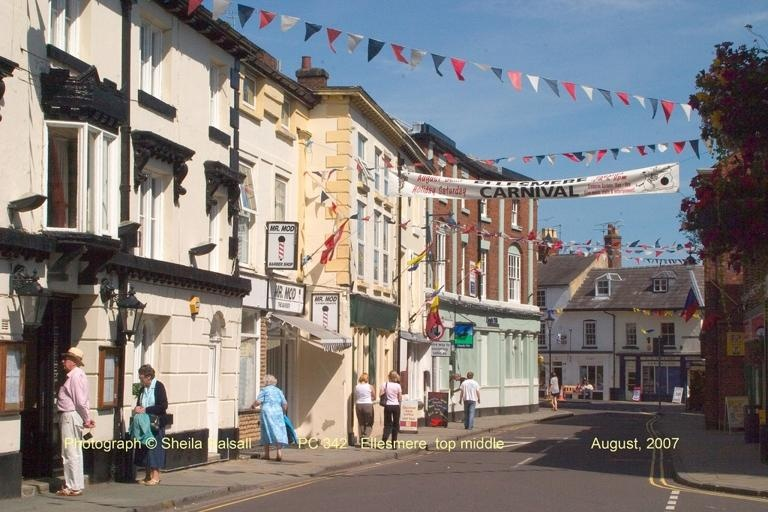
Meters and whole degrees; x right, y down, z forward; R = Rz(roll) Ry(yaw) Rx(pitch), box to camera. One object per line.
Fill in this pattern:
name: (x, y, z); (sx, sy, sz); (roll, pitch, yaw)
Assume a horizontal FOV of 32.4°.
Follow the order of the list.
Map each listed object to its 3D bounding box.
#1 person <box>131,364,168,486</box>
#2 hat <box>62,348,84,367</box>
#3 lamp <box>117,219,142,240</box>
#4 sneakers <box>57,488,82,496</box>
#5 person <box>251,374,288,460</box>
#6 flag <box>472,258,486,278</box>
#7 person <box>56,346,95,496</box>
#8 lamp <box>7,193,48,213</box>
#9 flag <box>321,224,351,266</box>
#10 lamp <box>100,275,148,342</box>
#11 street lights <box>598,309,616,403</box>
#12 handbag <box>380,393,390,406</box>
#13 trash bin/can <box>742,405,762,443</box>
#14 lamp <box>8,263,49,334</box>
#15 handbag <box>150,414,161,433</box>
person: (-5.281, 3.588, 29.587); (0.763, 2.246, 0.422); (2, -12, -13)
hat: (-6.738, 2.174, 28.487); (0.428, 0.239, 0.396); (28, -7, -9)
lamp: (-5.876, -0.616, 30.254); (0.361, 0.507, 0.364); (-4, -3, 13)
sneakers: (-6.757, 5.027, 28.124); (0.495, 0.192, 0.191); (5, -7, 3)
person: (-2.909, 4.164, 33.961); (0.871, 2.175, 0.921); (0, -12, -1)
flag: (4.059, 0.505, 56.323); (0.102, 0.820, 0.768); (-10, -7, 35)
person: (-6.717, 3.551, 28.273); (0.681, 3.107, 0.541); (3, -12, -15)
lamp: (-7.596, -1.135, 27.737); (0.590, 0.230, 0.394); (1, 11, 22)
flag: (-1.491, -0.485, 38.965); (0.859, 1.333, 1.206); (0, -12, 0)
lamp: (-6.030, 1.161, 30.385); (0.819, 1.545, 0.704); (-1, -6, -1)
street lights: (14.733, 6.320, 84.998); (0.811, 5.589, 0.540); (-2, -12, 9)
handbag: (0.030, 4.145, 38.082); (0.162, 0.453, 0.389); (-2, -1, -27)
trash bin/can: (11.285, 5.127, 40.112); (0.374, 1.148, 0.506); (-2, -12, 5)
lamp: (-7.587, 0.867, 28.041); (0.534, 1.321, 0.830); (-4, -13, 16)
handbag: (-5.176, 3.759, 29.550); (0.345, 0.368, 0.167); (0, -15, -6)
